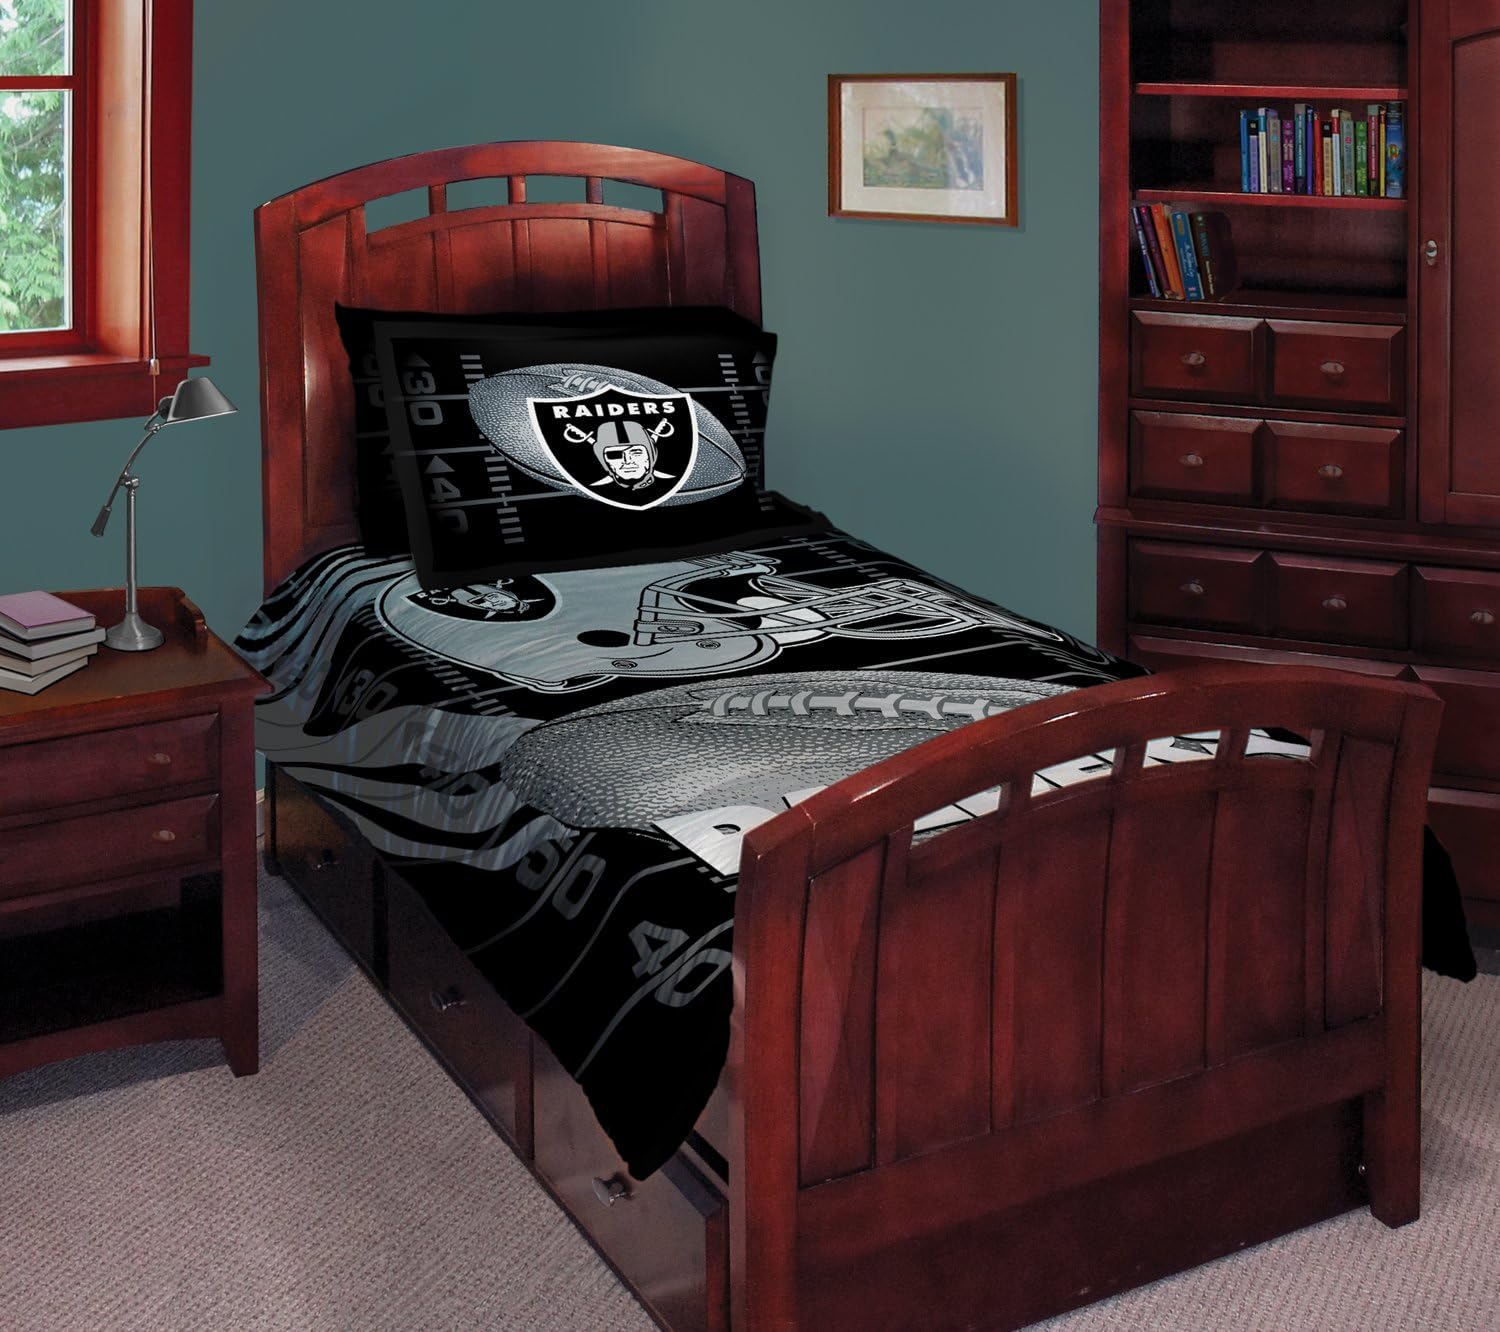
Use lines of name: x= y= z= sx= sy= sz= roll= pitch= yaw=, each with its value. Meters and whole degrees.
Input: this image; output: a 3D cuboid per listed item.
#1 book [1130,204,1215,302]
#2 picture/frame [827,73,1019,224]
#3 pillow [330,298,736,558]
book: x=0.956 y=-0.931 z=3.028 sx=0.259 sy=0.201 sz=0.053 roll=5 pitch=26 yaw=17
picture/frame: x=0.471 y=-1.361 z=3.509 sx=0.574 sy=0.305 sz=0.061 roll=2 pitch=7 yaw=25
pillow: x=-0.491 y=-0.487 z=2.890 sx=0.767 sy=0.404 sz=0.092 roll=-8 pitch=-8 yaw=-18
